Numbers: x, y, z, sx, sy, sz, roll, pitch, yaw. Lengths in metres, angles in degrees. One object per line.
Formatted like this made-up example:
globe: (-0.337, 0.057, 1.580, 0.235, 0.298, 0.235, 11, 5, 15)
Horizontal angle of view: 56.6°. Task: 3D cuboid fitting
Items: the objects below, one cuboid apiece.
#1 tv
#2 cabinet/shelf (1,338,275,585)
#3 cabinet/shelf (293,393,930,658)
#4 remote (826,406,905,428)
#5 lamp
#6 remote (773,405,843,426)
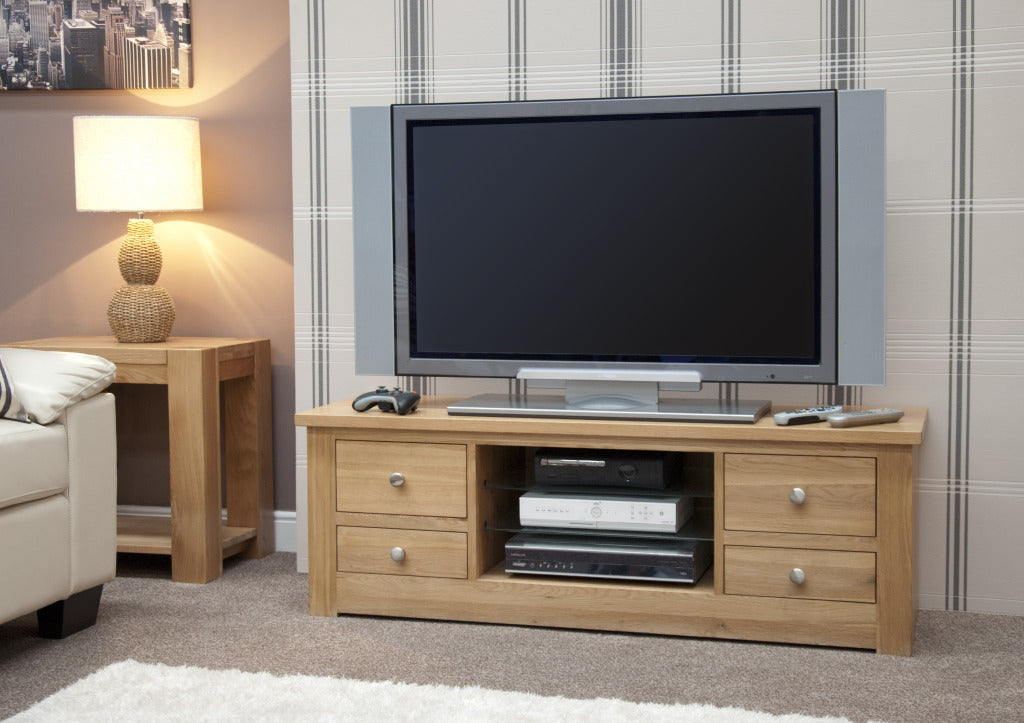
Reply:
tv: (0.334, -0.342, 2.990, 1.242, 0.740, 0.310, 0, 2, 13)
cabinet/shelf: (-1.258, 0.346, 3.633, 0.524, 0.846, 0.540, 2, 7, 18)
cabinet/shelf: (0.299, 0.528, 3.109, 1.908, 0.597, 0.525, 0, -1, 15)
remote: (1.051, 0.166, 2.825, 0.323, 0.036, 0.138, -5, 8, -39)
lamp: (-1.417, -0.511, 3.611, 0.361, 0.874, 0.381, 6, 9, 42)
remote: (0.876, 0.163, 2.840, 0.187, 0.027, 0.085, -7, 7, -22)
